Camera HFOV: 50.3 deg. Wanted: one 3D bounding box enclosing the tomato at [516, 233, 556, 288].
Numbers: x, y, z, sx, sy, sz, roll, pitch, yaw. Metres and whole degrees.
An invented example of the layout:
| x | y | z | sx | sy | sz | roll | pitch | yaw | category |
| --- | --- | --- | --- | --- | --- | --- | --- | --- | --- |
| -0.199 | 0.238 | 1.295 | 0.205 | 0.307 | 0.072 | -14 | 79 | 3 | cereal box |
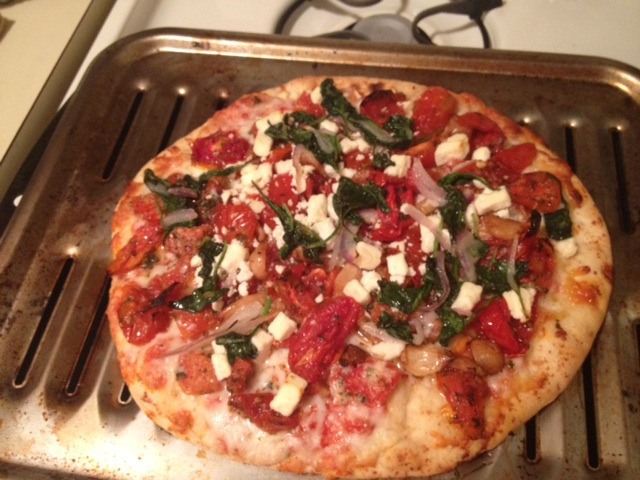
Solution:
| x | y | z | sx | sy | sz | roll | pitch | yaw | category |
| --- | --- | --- | --- | --- | --- | --- | --- | --- | --- |
| 1.693 | 0.168 | 5.326 | 0.296 | 0.106 | 0.433 | 5 | 79 | -9 | tomato |

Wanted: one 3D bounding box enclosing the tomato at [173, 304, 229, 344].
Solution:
| x | y | z | sx | sy | sz | roll | pitch | yaw | category |
| --- | --- | --- | --- | --- | --- | --- | --- | --- | --- |
| -0.926 | 0.642 | 5.363 | 0.316 | 0.095 | 0.320 | -34 | 71 | -11 | tomato |

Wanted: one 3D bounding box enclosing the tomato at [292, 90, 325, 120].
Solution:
| x | y | z | sx | sy | sz | roll | pitch | yaw | category |
| --- | --- | --- | --- | --- | --- | --- | --- | --- | --- |
| -0.089 | -1.177 | 5.964 | 0.245 | 0.075 | 0.253 | 38 | 80 | 15 | tomato |

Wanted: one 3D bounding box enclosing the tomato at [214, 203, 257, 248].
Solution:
| x | y | z | sx | sy | sz | roll | pitch | yaw | category |
| --- | --- | --- | --- | --- | --- | --- | --- | --- | --- |
| -0.679 | -0.156 | 5.497 | 0.265 | 0.208 | 0.365 | -10 | 62 | -5 | tomato |

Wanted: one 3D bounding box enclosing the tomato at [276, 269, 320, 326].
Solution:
| x | y | z | sx | sy | sz | roll | pitch | yaw | category |
| --- | --- | --- | --- | --- | --- | --- | --- | --- | --- |
| -0.163 | 0.450 | 5.247 | 0.263 | 0.102 | 0.405 | -33 | 88 | -10 | tomato |

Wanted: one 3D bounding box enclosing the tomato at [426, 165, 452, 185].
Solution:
| x | y | z | sx | sy | sz | roll | pitch | yaw | category |
| --- | --- | --- | --- | --- | --- | --- | --- | --- | --- |
| 0.976 | -0.562 | 5.583 | 0.171 | 0.055 | 0.159 | -32 | 66 | -17 | tomato |

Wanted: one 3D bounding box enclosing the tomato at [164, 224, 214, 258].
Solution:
| x | y | z | sx | sy | sz | roll | pitch | yaw | category |
| --- | --- | --- | --- | --- | --- | --- | --- | --- | --- |
| -1.082 | -0.013 | 5.656 | 0.345 | 0.095 | 0.242 | -21 | 92 | 8 | tomato |

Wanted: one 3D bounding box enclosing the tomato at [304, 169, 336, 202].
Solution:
| x | y | z | sx | sy | sz | roll | pitch | yaw | category |
| --- | --- | --- | --- | --- | --- | --- | --- | --- | --- |
| -0.006 | -0.470 | 5.656 | 0.234 | 0.084 | 0.255 | 0 | 76 | -11 | tomato |
